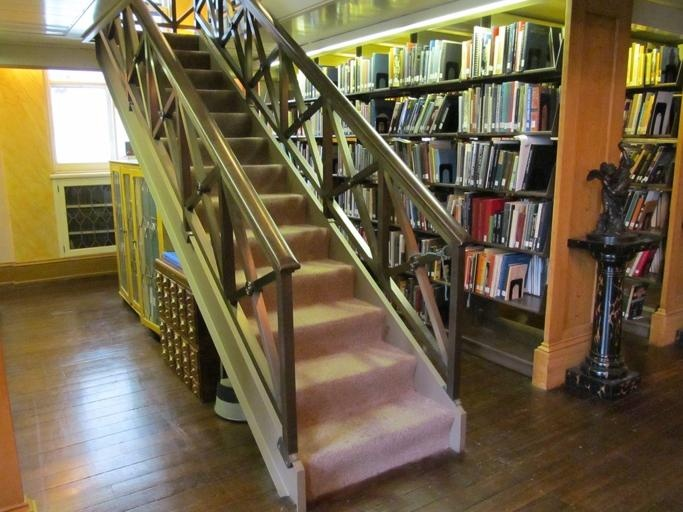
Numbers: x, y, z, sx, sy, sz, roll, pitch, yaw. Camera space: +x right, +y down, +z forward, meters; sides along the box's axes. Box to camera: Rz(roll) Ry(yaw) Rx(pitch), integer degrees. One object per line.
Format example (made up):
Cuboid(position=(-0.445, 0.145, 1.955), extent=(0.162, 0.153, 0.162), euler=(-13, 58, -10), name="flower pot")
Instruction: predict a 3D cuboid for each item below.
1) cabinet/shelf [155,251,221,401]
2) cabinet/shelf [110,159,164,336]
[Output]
Cuboid(position=(-1.139, 0.531, 4.096), extent=(0.475, 0.921, 0.938), euler=(-10, 10, -18), name="cabinet/shelf")
Cuboid(position=(-1.981, -0.072, 5.327), extent=(0.519, 1.477, 1.489), euler=(-7, 15, -28), name="cabinet/shelf")
